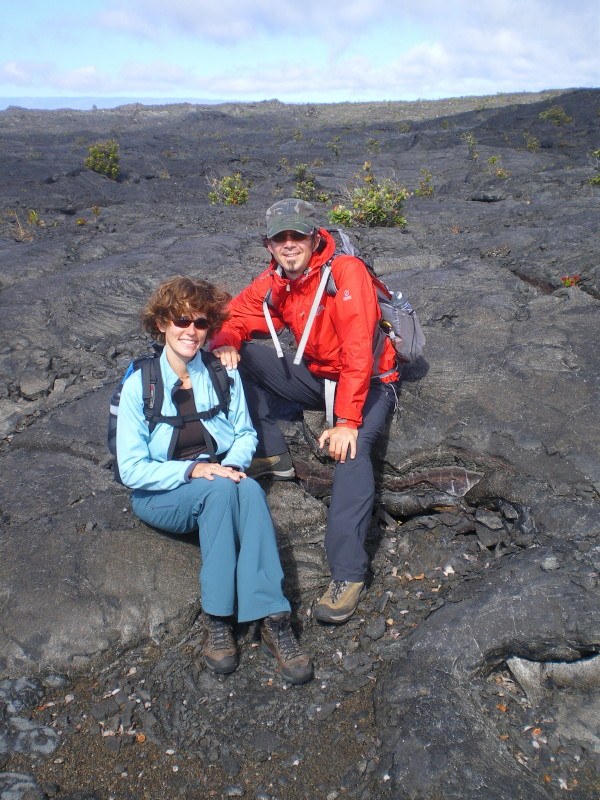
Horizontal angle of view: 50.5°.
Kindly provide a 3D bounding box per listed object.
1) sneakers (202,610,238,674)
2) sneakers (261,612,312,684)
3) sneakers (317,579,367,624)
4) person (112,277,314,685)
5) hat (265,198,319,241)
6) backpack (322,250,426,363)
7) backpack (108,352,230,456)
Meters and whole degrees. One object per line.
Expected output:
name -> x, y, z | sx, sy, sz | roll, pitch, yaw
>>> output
sneakers -> -0.383, 1.161, 3.021 | 0.153, 0.256, 0.188 | -5, 19, -10
sneakers -> -0.056, 1.164, 3.004 | 0.141, 0.303, 0.266 | -13, 22, -31
sneakers -> 0.220, 1.042, 3.383 | 0.142, 0.153, 0.318 | 3, 10, 23
person -> -0.461, 0.459, 3.153 | 0.736, 1.485, 1.131 | -11, 21, -25
hat -> -0.053, -1.017, 3.583 | 0.305, 0.213, 0.295 | 0, 19, 3
backpack -> 0.440, -0.613, 4.124 | 0.691, 0.664, 0.483 | -4, 53, 3
backpack -> -0.718, 0.025, 3.532 | 0.636, 0.656, 0.480 | 1, -3, -24
